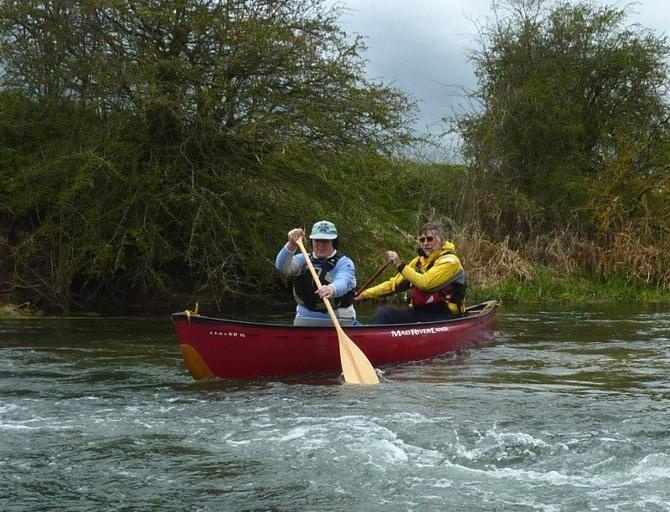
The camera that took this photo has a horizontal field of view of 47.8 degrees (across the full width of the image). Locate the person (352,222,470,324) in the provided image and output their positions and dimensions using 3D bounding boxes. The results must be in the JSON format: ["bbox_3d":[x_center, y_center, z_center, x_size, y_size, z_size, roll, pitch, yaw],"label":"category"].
[{"bbox_3d":[1.018,0.556,10.058,1.487,1.989,1.042,4,-4,3],"label":"person"}]

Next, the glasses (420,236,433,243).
[{"bbox_3d":[1.162,-0.227,9.797,0.065,0.103,0.215,-9,13,-37],"label":"glasses"}]
